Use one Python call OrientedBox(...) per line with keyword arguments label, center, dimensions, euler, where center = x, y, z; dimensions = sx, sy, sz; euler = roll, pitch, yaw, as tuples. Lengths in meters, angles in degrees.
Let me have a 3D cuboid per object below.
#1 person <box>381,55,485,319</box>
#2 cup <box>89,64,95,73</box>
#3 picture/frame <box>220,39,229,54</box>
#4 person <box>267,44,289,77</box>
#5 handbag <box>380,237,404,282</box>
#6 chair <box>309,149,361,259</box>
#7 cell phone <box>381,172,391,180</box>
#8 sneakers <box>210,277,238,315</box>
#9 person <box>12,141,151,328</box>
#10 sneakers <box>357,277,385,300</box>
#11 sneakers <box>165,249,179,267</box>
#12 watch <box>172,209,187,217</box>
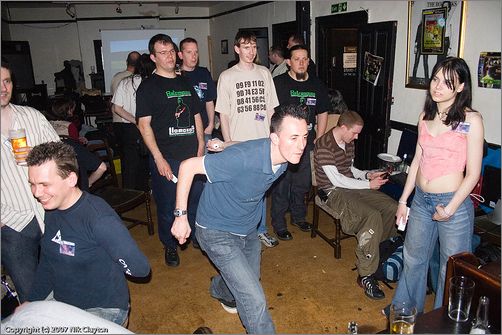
OrientedBox(label="person", center=(1.590, 0.288, 3.053), dimensions=(0.781, 2.412, 0.649), euler=(7, 14, 44))
OrientedBox(label="cup", center=(-5.505, -3.459, 11.764), dimensions=(0.206, 0.217, 0.139), euler=(-6, 19, -11))
OrientedBox(label="picture/frame", center=(-0.960, -4.431, 12.281), dimensions=(0.050, 0.671, 0.655), euler=(-4, 11, -25))
OrientedBox(label="person", center=(0.560, -2.099, 6.601), dimensions=(0.397, 0.615, 0.770), euler=(-1, 25, 13))
OrientedBox(label="handbag", center=(1.578, 1.017, 3.784), dimensions=(0.316, 0.161, 0.440), euler=(-6, 39, 54))
OrientedBox(label="chair", center=(1.172, 0.440, 4.386), dimensions=(0.882, 1.210, 0.914), euler=(8, 17, 25))
OrientedBox(label="cell phone", center=(1.697, 0.104, 4.274), dimensions=(0.199, 0.062, 0.052), euler=(-16, 10, -36))
OrientedBox(label="sneakers", center=(-0.299, 1.279, 3.531), dimensions=(0.186, 0.238, 0.539), euler=(-13, 13, -29))
OrientedBox(label="person", center=(-1.202, 0.514, 2.447), dimensions=(0.748, 1.310, 0.448), euler=(10, 22, 32))
OrientedBox(label="sneakers", center=(1.295, 1.288, 3.671), dimensions=(0.129, 0.137, 0.297), euler=(-7, 13, -17))
OrientedBox(label="sneakers", center=(-0.974, 1.124, 4.173), dimensions=(0.109, 0.108, 0.285), euler=(1, 6, -13))
OrientedBox(label="watch", center=(-0.583, 0.376, 2.770), dimensions=(0.080, 0.054, 0.086), euler=(-1, -3, 12))
